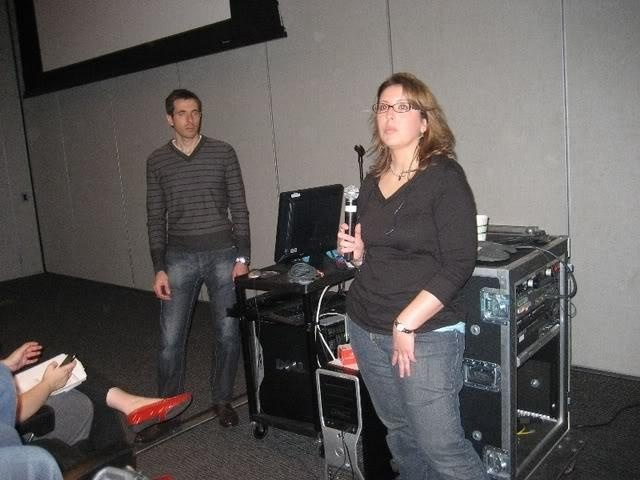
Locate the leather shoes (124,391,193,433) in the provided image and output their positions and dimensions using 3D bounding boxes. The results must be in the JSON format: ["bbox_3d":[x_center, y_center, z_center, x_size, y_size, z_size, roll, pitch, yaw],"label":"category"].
[{"bbox_3d":[-0.837,0.881,2.618,0.368,0.134,0.133,-27,15,-26],"label":"leather shoes"}]

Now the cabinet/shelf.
[{"bbox_3d":[-0.041,0.713,3.082,0.703,0.943,0.651,-7,-7,34],"label":"cabinet/shelf"}]

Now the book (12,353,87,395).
[{"bbox_3d":[-1.308,0.670,2.423,0.292,0.068,0.187,-24,29,-10],"label":"book"}]

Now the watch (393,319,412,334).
[{"bbox_3d":[0.319,0.333,1.895,0.069,0.054,0.041,0,9,10],"label":"watch"}]

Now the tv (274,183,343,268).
[{"bbox_3d":[-0.059,-0.071,2.907,0.531,0.499,0.167,-17,31,-36],"label":"tv"}]

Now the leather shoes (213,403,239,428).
[{"bbox_3d":[-0.597,1.108,3.133,0.094,0.077,0.194,-8,34,-32],"label":"leather shoes"}]
